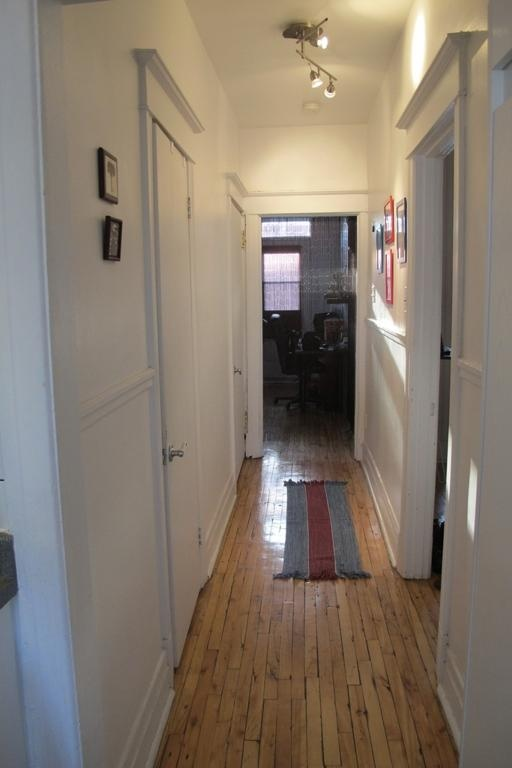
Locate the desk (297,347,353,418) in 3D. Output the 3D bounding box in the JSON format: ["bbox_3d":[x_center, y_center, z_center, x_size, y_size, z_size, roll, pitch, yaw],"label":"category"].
[{"bbox_3d":[0.845,-0.015,6.807,0.502,1.095,0.864,-1,1,8],"label":"desk"}]

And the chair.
[{"bbox_3d":[0.580,0.035,7.689,0.751,2.222,1.616,0,7,3],"label":"chair"}]
